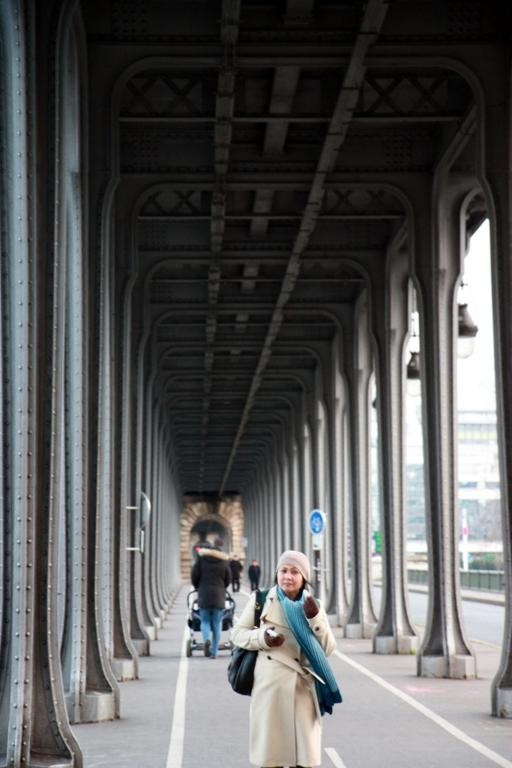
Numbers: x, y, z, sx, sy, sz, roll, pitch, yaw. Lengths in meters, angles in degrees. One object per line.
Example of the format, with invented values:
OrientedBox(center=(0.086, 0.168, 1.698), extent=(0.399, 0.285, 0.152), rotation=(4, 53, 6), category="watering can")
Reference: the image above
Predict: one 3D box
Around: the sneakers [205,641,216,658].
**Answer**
OrientedBox(center=(-0.754, 4.452, 17.176), extent=(0.075, 0.295, 0.175), rotation=(-15, 33, -22), category="sneakers")

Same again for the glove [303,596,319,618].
OrientedBox(center=(0.286, 1.132, 5.198), extent=(0.031, 0.131, 0.077), rotation=(0, 13, 21), category="glove")

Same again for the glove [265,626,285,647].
OrientedBox(center=(0.097, 1.278, 5.156), extent=(0.029, 0.087, 0.095), rotation=(-2, 17, -23), category="glove")

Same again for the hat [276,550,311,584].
OrientedBox(center=(0.206, 0.953, 5.457), extent=(0.123, 0.187, 0.206), rotation=(4, -19, 10), category="hat")

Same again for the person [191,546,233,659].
OrientedBox(center=(-0.732, 3.599, 17.012), extent=(0.650, 1.895, 1.310), rotation=(-1, -10, -4), category="person")
